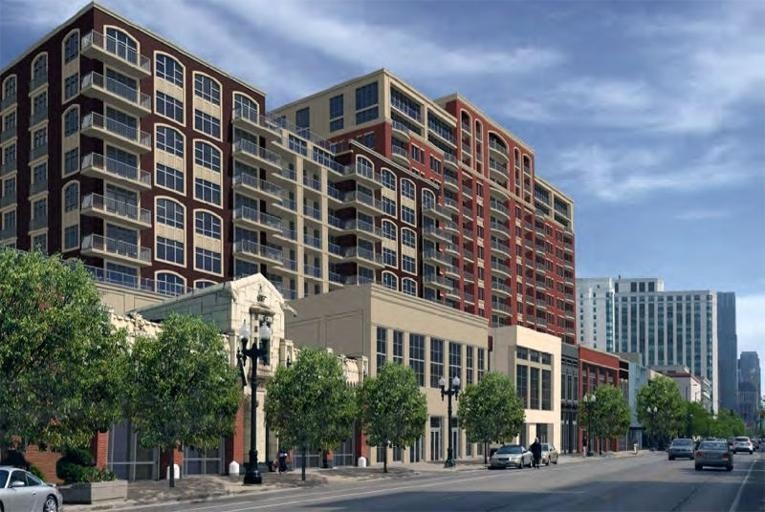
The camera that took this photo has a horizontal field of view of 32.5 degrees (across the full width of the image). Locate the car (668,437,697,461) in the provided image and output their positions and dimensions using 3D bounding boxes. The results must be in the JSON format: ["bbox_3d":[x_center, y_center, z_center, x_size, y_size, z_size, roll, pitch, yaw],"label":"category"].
[{"bbox_3d":[28.389,18.223,125.813,2.121,2.037,2.851,-15,-22,39],"label":"car"}]

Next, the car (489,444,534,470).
[{"bbox_3d":[11.174,17.820,116.892,3.496,2.429,2.737,-1,-17,1],"label":"car"}]
